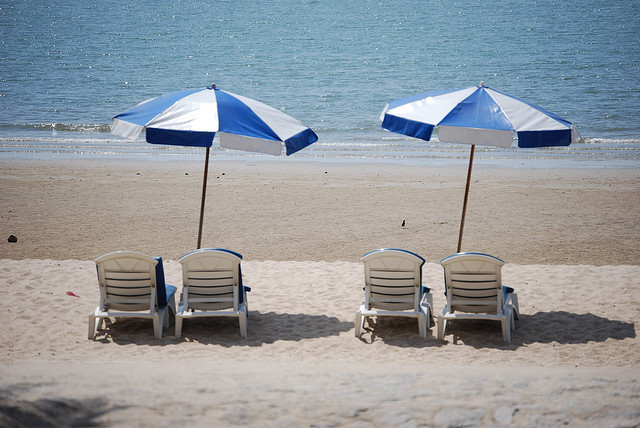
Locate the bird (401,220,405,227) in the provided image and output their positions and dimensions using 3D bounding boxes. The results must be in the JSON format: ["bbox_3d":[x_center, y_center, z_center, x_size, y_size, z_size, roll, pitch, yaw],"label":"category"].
[{"bbox_3d":[4.042,0.426,45.193,0.092,0.271,0.129,17,-4,27],"label":"bird"}]
